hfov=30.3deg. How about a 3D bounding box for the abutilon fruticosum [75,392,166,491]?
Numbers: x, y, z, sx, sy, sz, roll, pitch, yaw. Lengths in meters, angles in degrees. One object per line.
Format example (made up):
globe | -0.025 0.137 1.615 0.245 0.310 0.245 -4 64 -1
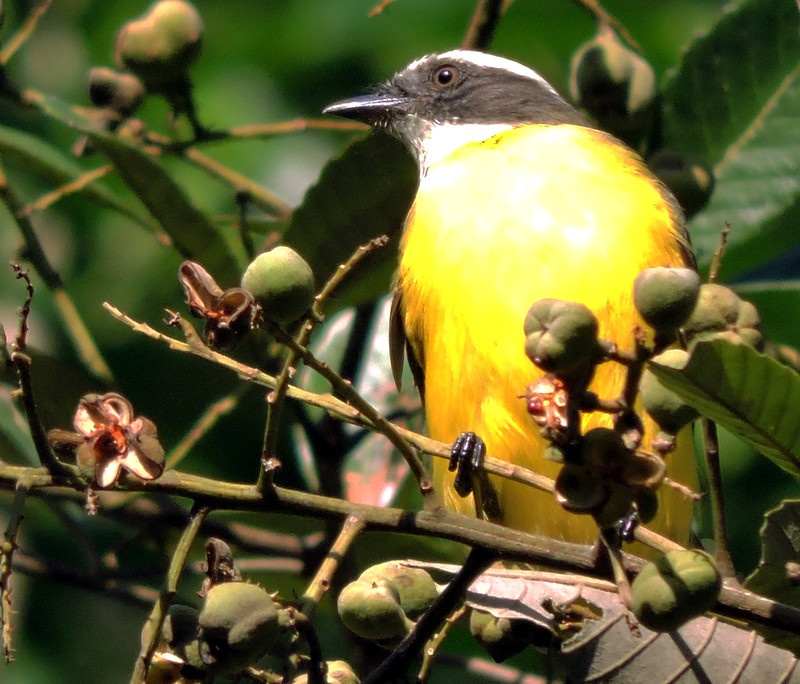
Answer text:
abutilon fruticosum | -0.569 0.195 2.997 0.150 0.199 0.155 11 15 38

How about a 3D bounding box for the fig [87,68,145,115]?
fig | -0.817 -0.734 4.283 0.202 0.151 0.248 2 -2 -15

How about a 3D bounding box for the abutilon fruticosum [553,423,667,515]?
abutilon fruticosum | 0.406 0.259 2.970 0.205 0.168 0.200 6 9 -9

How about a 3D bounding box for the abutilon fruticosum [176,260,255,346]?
abutilon fruticosum | -0.359 -0.069 2.932 0.105 0.167 0.143 4 5 -43
